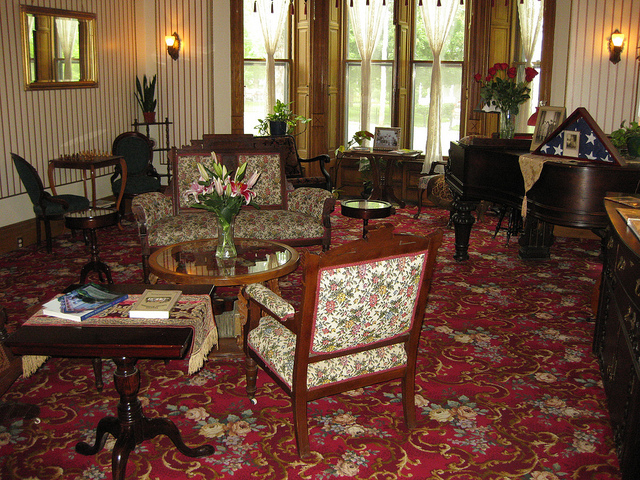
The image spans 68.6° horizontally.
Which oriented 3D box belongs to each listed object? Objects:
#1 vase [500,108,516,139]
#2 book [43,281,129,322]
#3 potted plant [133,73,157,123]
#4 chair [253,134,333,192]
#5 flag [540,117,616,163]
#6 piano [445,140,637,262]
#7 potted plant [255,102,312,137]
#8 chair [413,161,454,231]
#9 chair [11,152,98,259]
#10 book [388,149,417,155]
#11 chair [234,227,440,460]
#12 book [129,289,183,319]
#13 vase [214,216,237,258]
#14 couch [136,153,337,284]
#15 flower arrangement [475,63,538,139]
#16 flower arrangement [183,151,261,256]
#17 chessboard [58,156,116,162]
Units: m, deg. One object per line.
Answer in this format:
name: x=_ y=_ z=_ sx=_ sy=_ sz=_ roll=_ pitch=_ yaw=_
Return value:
vase: x=2.252 y=-1.430 z=5.736 sx=0.188 sy=0.350 sz=0.700 roll=7 pitch=18 yaw=20
book: x=-1.298 y=0.345 z=2.606 sx=0.225 sy=0.037 sz=0.223 roll=9 pitch=17 yaw=19
potted plant: x=-3.157 y=-2.606 z=8.592 sx=0.390 sy=0.866 sz=0.560 roll=-11 pitch=21 yaw=-28
chair: x=-0.244 y=-1.177 z=7.942 sx=0.943 sy=0.987 sz=0.809 roll=2 pitch=13 yaw=-4
flag: x=2.407 y=-0.949 z=4.412 sx=0.104 sy=0.357 sz=0.766 roll=-7 pitch=18 yaw=-20
piano: x=2.420 y=-0.463 z=5.093 sx=1.514 sy=1.122 sz=1.896 roll=-6 pitch=15 yaw=-27
potted plant: x=-0.662 y=-2.128 z=8.492 sx=1.179 sy=0.499 sz=0.872 roll=3 pitch=13 yaw=12
chair: x=1.875 y=-0.813 z=7.837 sx=0.617 sy=0.945 sz=2.219 roll=4 pitch=17 yaw=11
chair: x=-3.481 y=-0.506 z=6.157 sx=0.692 sy=1.279 sz=2.065 roll=-11 pitch=20 yaw=-30
book: x=1.445 y=-1.540 z=8.274 sx=0.493 sy=0.049 sz=0.262 roll=0 pitch=17 yaw=1
chair: x=0.073 y=0.496 z=2.861 sx=0.986 sy=1.176 sz=0.954 roll=-2 pitch=9 yaw=-19
book: x=-0.904 y=0.354 z=2.620 sx=0.255 sy=0.041 sz=0.233 roll=10 pitch=33 yaw=23
vase: x=-0.765 y=-0.031 z=3.751 sx=0.181 sy=0.336 sz=0.140 roll=-2 pitch=19 yaw=-5
couch: x=-0.963 y=-0.326 z=5.347 sx=2.176 sy=1.280 sz=0.845 roll=-4 pitch=23 yaw=-24
flower arrangement: x=2.268 y=-1.724 z=5.771 sx=0.630 sy=0.774 sz=0.678 roll=-21 pitch=30 yaw=-27
flower arrangement: x=-0.779 y=-0.289 z=3.719 sx=0.549 sy=0.802 sz=0.341 roll=-5 pitch=19 yaw=-14
chessboard: x=-3.363 y=-1.192 z=6.807 sx=0.568 sy=0.050 sz=0.500 roll=4 pitch=17 yaw=13
